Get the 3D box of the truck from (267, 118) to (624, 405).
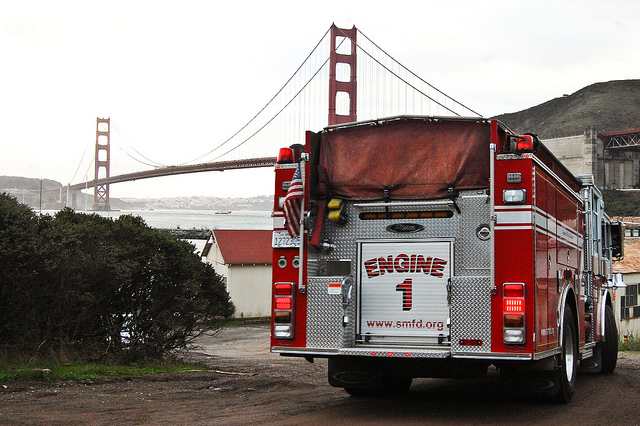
[{"bbox_3d":[2.465,1.036,16.318,6.724,4.594,3.863,1,0,-4],"label":"truck"}]
